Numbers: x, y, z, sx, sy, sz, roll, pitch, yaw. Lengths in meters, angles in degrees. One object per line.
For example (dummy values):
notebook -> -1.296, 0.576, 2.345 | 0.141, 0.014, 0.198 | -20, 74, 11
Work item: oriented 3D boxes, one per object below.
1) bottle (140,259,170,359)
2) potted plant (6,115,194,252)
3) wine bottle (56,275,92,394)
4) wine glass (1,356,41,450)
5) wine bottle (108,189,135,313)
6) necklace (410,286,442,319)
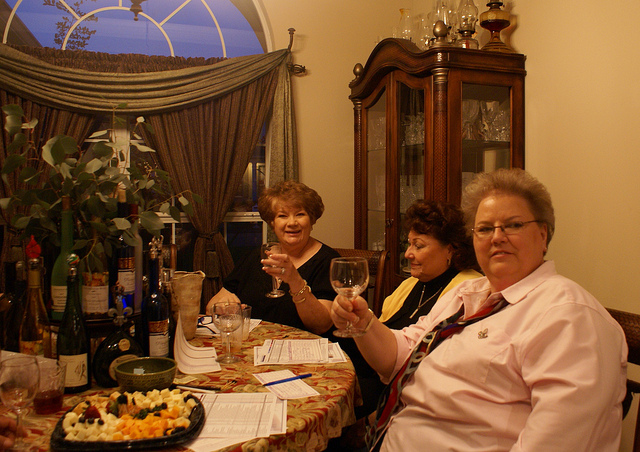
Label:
bottle -> -0.656, 0.338, 2.032 | 0.118, 0.465, 0.117 | 1, 14, 0
potted plant -> -1.227, -0.281, 2.790 | 0.942, 0.834, 0.881 | 10, 7, 31
wine bottle -> -0.921, 0.389, 1.867 | 0.128, 0.440, 0.114 | -1, -2, -34
wine glass -> -0.941, 0.537, 1.593 | 0.108, 0.247, 0.196 | -6, 13, -29
wine bottle -> -0.839, 0.119, 2.134 | 0.113, 0.460, 0.103 | 0, 2, 24
necklace -> 0.549, 0.394, 2.688 | 0.064, 0.215, 0.023 | 20, -28, 42
